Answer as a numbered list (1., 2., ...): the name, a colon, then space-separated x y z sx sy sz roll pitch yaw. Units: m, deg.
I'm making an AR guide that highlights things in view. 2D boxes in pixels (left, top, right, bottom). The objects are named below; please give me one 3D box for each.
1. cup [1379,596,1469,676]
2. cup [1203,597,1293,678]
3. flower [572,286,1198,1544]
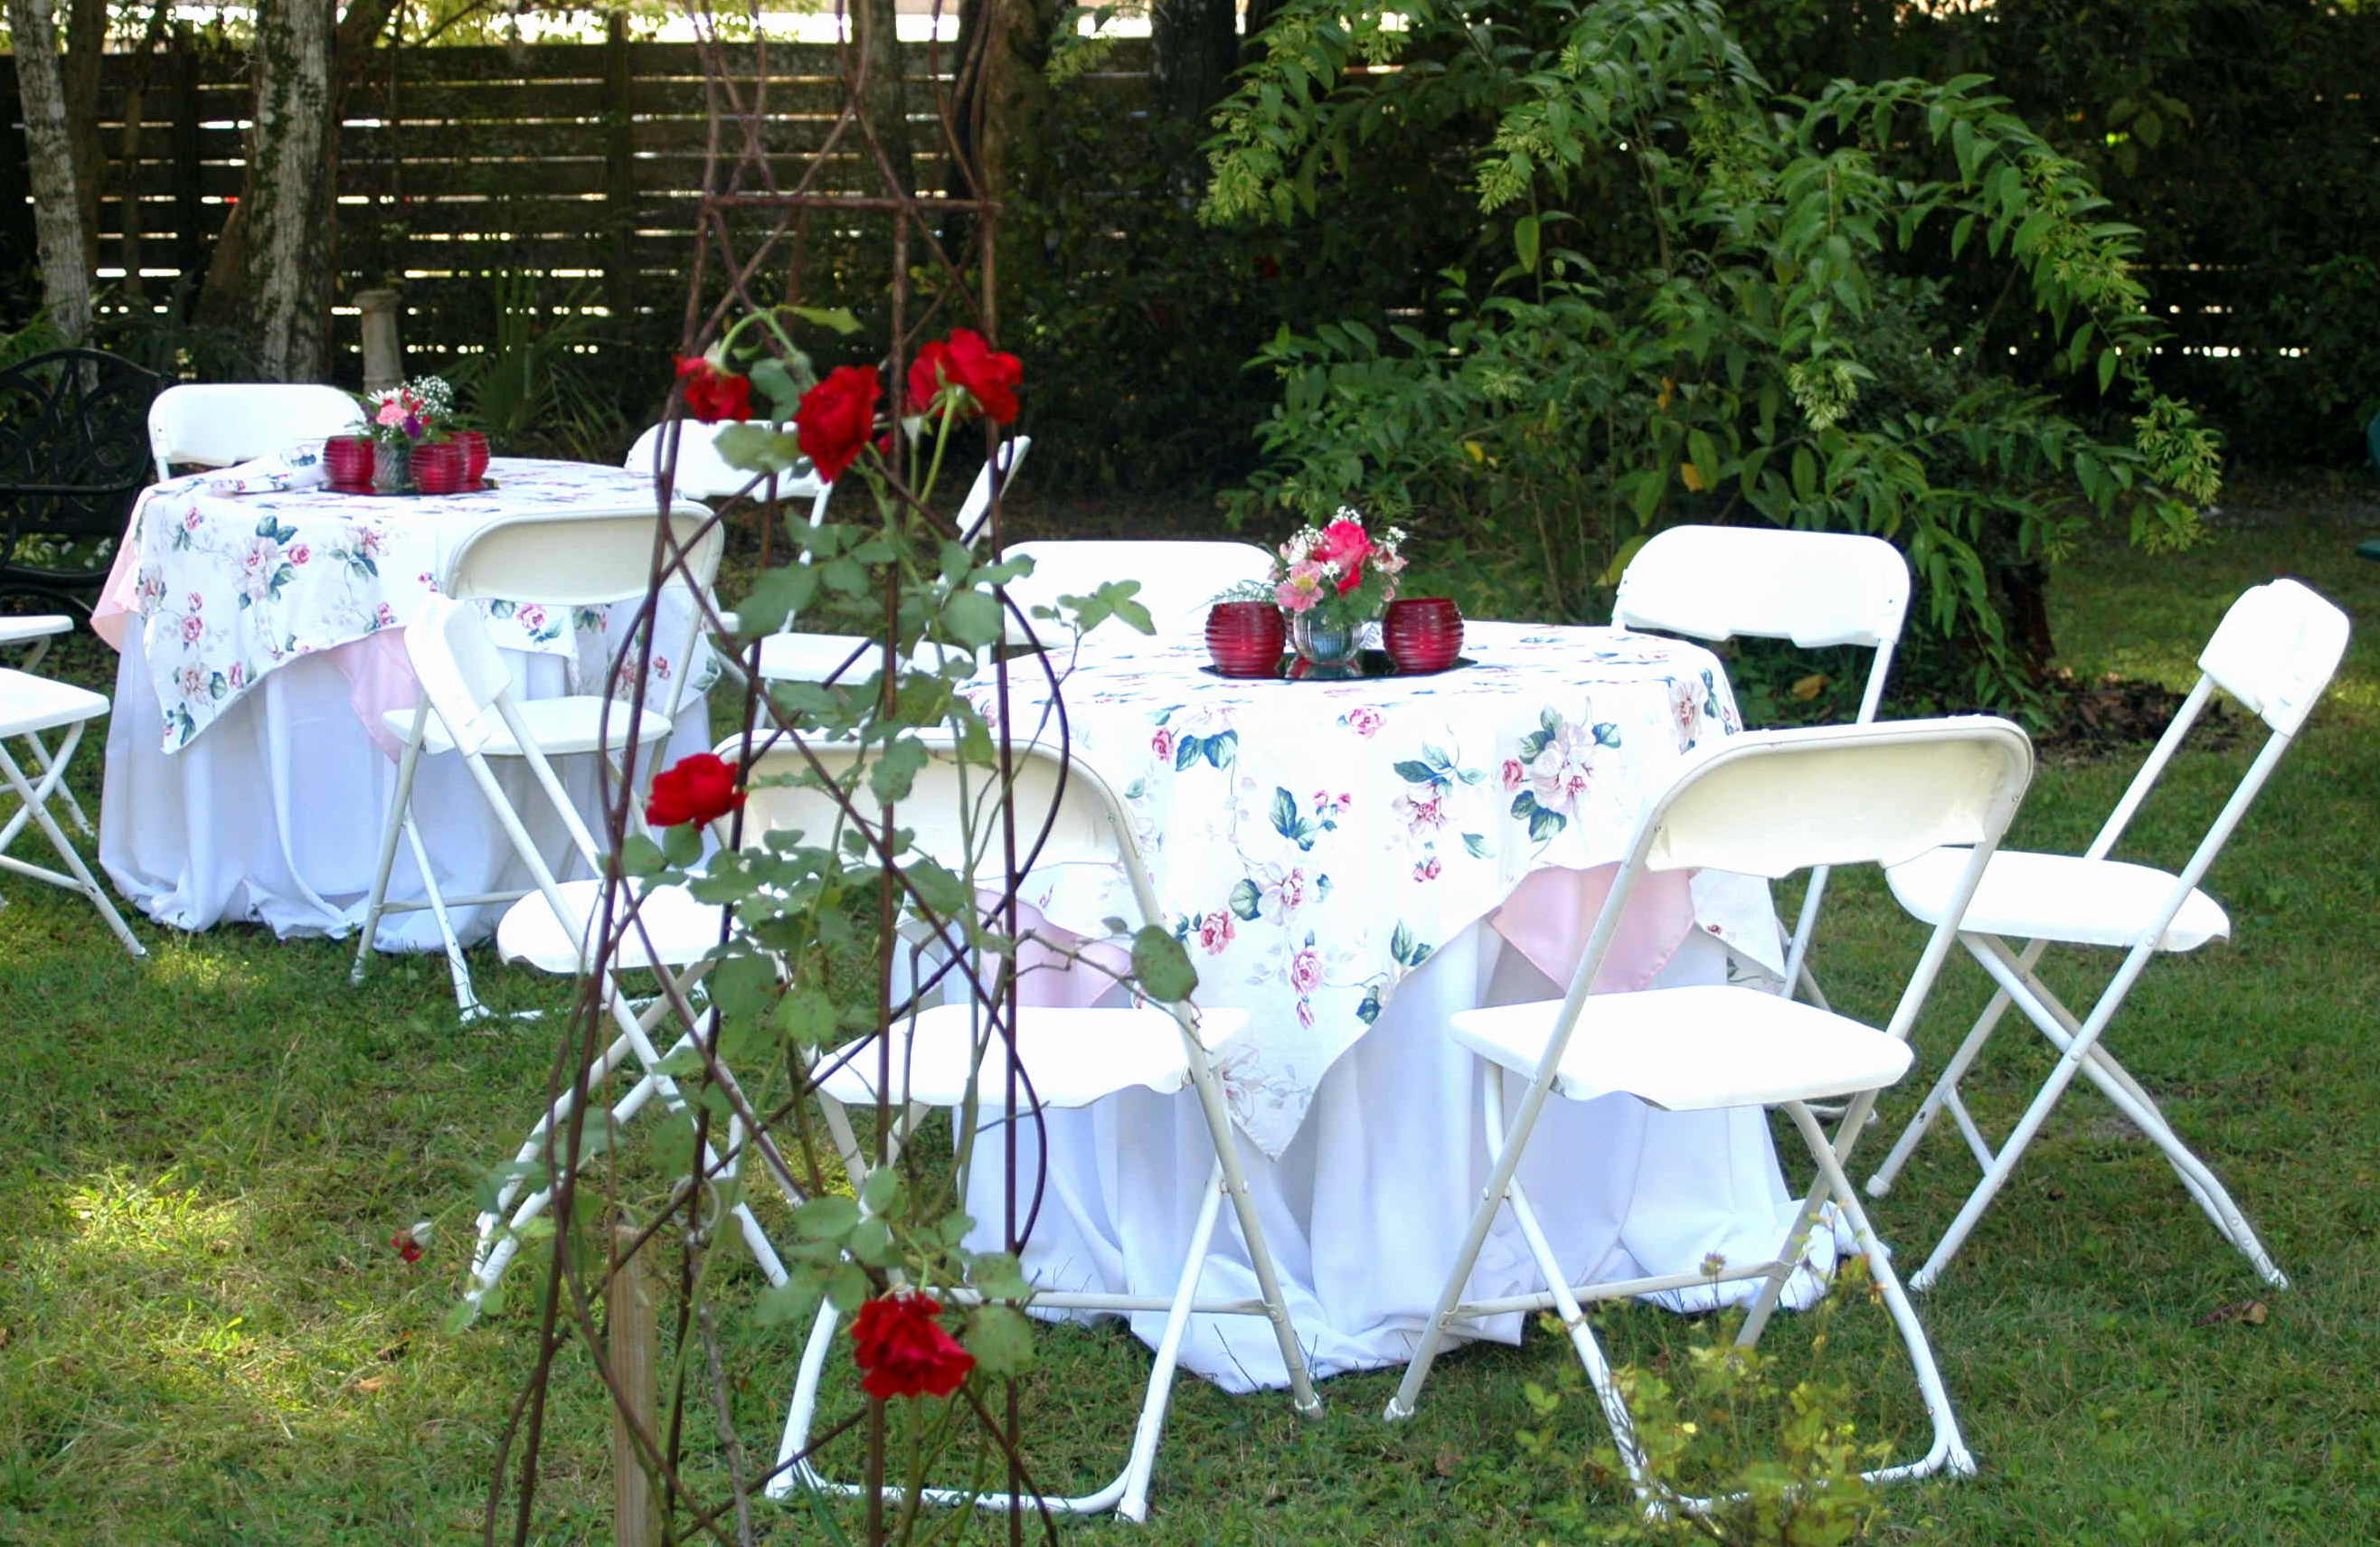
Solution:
1. cup: 0.510 -0.300 5.136 0.153 0.149 0.160 -1 3 0
2. cup: 0.115 -0.313 5.152 0.150 0.153 0.162 1 9 0
3. flower: -0.554 0.339 4.285 1.045 2.416 1.749 2 17 -7
